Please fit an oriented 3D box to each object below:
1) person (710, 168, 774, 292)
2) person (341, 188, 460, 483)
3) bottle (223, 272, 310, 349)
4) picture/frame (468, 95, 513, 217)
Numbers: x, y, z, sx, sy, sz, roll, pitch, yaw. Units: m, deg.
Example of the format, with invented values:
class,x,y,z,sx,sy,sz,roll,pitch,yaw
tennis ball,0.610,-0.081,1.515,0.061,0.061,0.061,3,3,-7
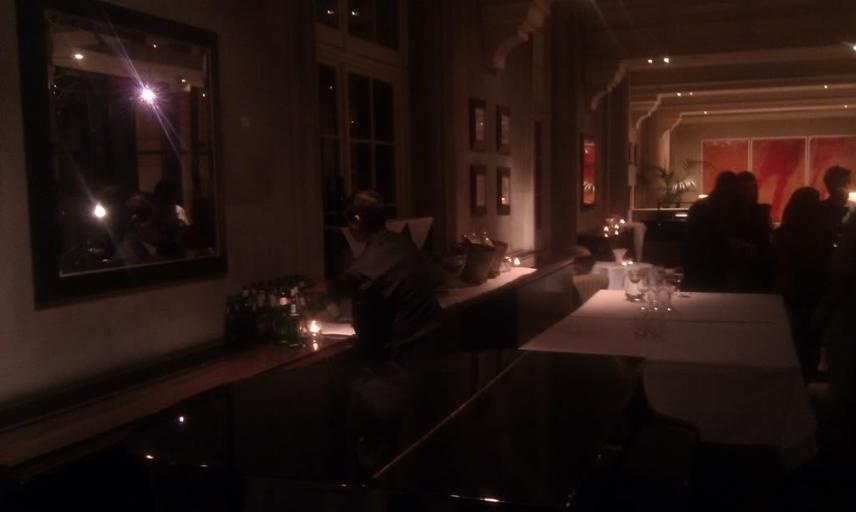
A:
class,x,y,z,sx,sy,sz,roll,pitch,yaw
person,3.103,-0.237,5.907,0.623,1.162,0.302,-1,12,-9
person,-0.286,0.566,3.752,0.712,1.898,0.762,11,12,11
bottle,-0.905,0.313,3.368,0.303,0.156,0.417,1,5,12
picture/frame,0.604,-1.002,5.982,0.098,1.278,1.305,-1,2,25
